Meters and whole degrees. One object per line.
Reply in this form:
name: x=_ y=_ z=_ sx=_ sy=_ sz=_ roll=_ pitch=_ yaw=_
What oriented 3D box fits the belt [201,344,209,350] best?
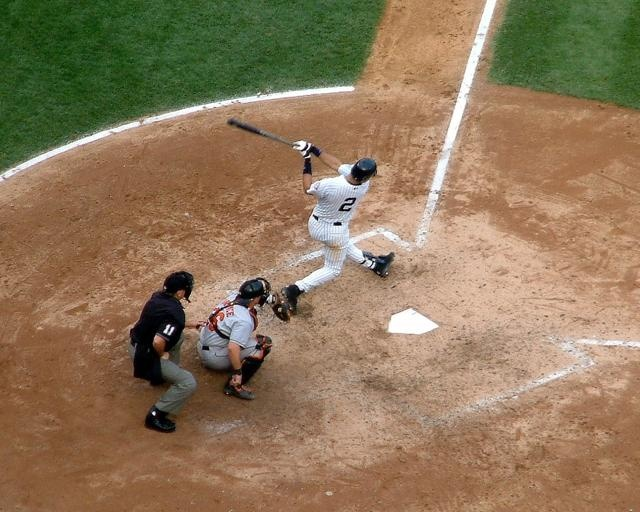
belt: x=-1.452 y=1.161 z=9.736 sx=0.138 sy=0.073 sz=0.046 roll=5 pitch=93 yaw=-3

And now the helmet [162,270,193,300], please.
helmet: x=-1.818 y=0.328 z=9.420 sx=0.509 sy=0.349 sz=0.267 roll=-10 pitch=52 yaw=-20

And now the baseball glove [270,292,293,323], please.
baseball glove: x=-0.496 y=0.707 z=10.498 sx=0.211 sy=0.532 sz=0.243 roll=-45 pitch=58 yaw=-7

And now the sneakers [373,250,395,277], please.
sneakers: x=0.960 y=0.094 z=11.313 sx=0.263 sy=0.174 sz=0.495 roll=37 pitch=43 yaw=-1

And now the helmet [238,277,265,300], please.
helmet: x=-0.773 y=0.400 z=9.578 sx=0.413 sy=0.147 sz=0.204 roll=-19 pitch=45 yaw=-19

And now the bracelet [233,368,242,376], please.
bracelet: x=-1.038 y=1.447 z=9.576 sx=0.116 sy=0.087 sz=0.057 roll=-5 pitch=81 yaw=20
